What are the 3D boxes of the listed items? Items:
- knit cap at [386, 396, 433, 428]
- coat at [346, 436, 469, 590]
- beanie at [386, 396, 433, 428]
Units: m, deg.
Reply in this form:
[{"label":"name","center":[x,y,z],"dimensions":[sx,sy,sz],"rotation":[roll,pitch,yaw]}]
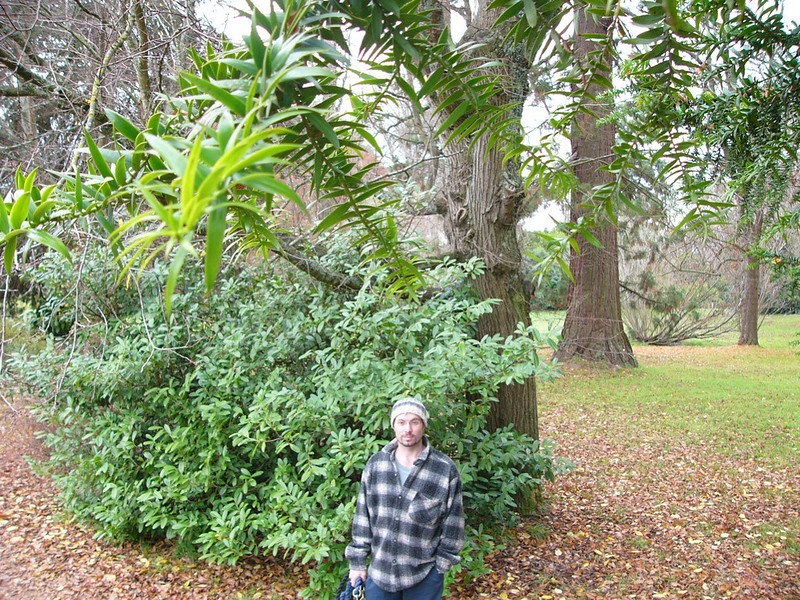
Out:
[{"label":"knit cap","center":[0.063,0.645,3.261],"dimensions":[0.168,0.123,0.177],"rotation":[-2,-43,16]},{"label":"coat","center":[0.016,1.189,3.150],"dimensions":[0.645,0.763,0.285],"rotation":[-2,6,2]},{"label":"beanie","center":[0.060,0.633,3.264],"dimensions":[0.168,0.123,0.177],"rotation":[-2,-43,16]}]
